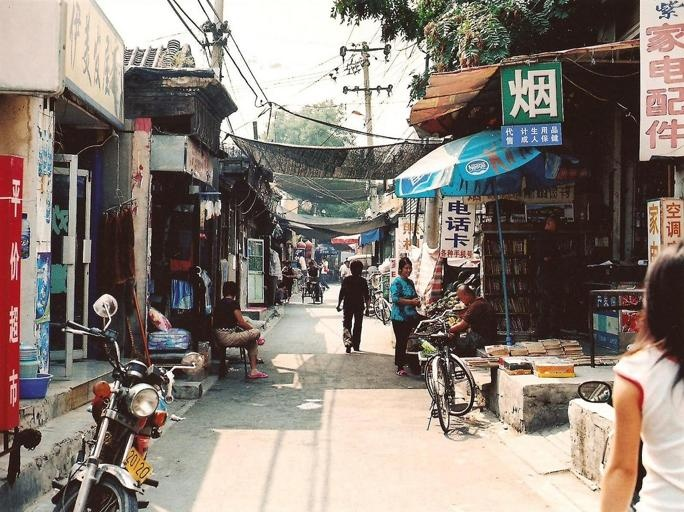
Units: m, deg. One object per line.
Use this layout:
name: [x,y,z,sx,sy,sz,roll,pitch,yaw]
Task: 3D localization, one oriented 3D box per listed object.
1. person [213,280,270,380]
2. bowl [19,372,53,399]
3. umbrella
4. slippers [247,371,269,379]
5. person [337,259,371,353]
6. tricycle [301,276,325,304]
person: [-1.645,1.197,10.882,0.840,1.542,0.754,-1,3,-33]
bowl: [-3.186,1.353,6.997,0.205,0.235,0.321,1,2,9]
umbrella: [2.834,-0.305,11.290,3.175,3.619,3.480,0,7,4]
slippers: [-1.377,1.932,10.882,0.300,0.141,0.145,0,-2,-5]
person: [0.216,1.013,13.985,0.611,1.891,1.138,1,2,1]
tricycle: [-1.271,1.532,28.346,0.684,0.935,1.524,0,-7,-5]
